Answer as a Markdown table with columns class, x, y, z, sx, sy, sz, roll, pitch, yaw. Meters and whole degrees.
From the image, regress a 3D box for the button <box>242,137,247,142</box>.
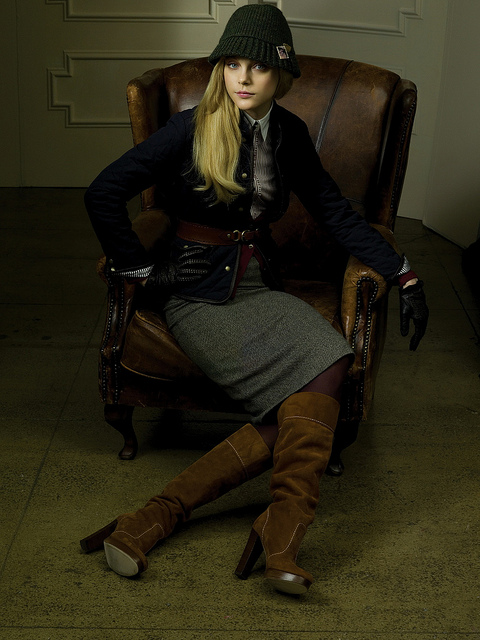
| class | x | y | z | sx | sy | sz | roll | pitch | yaw |
| --- | --- | --- | --- | --- | --- | --- | --- | --- | --- |
| button | 0.009 | -0.424 | 1.315 | 0.015 | 0.013 | 0.004 | 0 | -3 | -9 |

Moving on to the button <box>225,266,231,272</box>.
| class | x | y | z | sx | sy | sz | roll | pitch | yaw |
| --- | --- | --- | --- | --- | --- | --- | --- | --- | --- |
| button | -0.029 | -0.121 | 1.332 | 0.012 | 0.011 | 0.003 | 2 | -5 | -7 |

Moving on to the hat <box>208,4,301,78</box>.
| class | x | y | z | sx | sy | sz | roll | pitch | yaw |
| --- | --- | --- | --- | --- | --- | --- | --- | --- | --- |
| hat | 0.043 | -0.630 | 1.253 | 0.174 | 0.100 | 0.175 | 12 | 3 | 3 |

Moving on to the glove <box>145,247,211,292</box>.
| class | x | y | z | sx | sy | sz | roll | pitch | yaw |
| --- | --- | --- | --- | --- | --- | --- | --- | --- | --- |
| glove | -0.134 | -0.113 | 1.338 | 0.184 | 0.094 | 0.049 | -20 | -20 | 34 |

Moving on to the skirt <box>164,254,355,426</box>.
| class | x | y | z | sx | sy | sz | roll | pitch | yaw |
| --- | --- | --- | --- | --- | --- | --- | --- | --- | --- |
| skirt | 0.015 | 0.019 | 1.294 | 0.282 | 0.117 | 0.463 | -29 | 45 | -15 |

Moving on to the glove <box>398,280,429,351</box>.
| class | x | y | z | sx | sy | sz | roll | pitch | yaw |
| --- | --- | --- | --- | --- | --- | --- | --- | --- | --- |
| glove | 0.432 | -0.005 | 1.434 | 0.096 | 0.151 | 0.068 | 9 | -13 | -17 |

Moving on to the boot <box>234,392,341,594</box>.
| class | x | y | z | sx | sy | sz | roll | pitch | yaw |
| --- | --- | --- | --- | --- | --- | --- | --- | --- | --- |
| boot | 0.082 | 0.332 | 1.062 | 0.173 | 0.354 | 0.270 | 5 | 14 | 10 |

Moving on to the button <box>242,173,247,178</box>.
| class | x | y | z | sx | sy | sz | roll | pitch | yaw |
| --- | --- | --- | --- | --- | --- | --- | --- | --- | --- |
| button | 0.009 | -0.337 | 1.307 | 0.014 | 0.012 | 0.003 | -4 | 3 | -2 |

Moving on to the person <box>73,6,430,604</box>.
| class | x | y | z | sx | sy | sz | roll | pitch | yaw |
| --- | --- | --- | --- | --- | --- | --- | --- | --- | --- |
| person | -0.007 | -0.096 | 1.248 | 0.656 | 1.130 | 0.797 | 9 | 16 | 27 |
